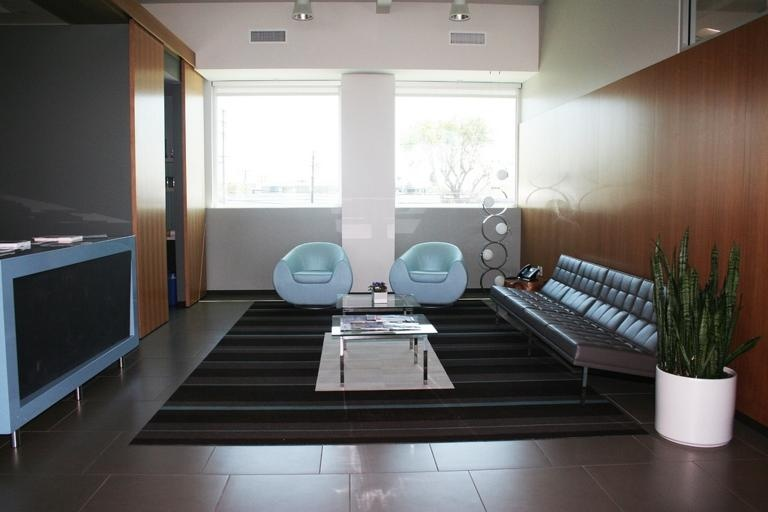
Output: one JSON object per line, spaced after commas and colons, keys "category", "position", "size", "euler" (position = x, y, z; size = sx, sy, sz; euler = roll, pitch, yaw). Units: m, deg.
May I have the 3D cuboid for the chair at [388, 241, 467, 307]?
{"category": "chair", "position": [0.710, 0.282, 7.411], "size": [1.234, 0.956, 1.158], "euler": [-1, 3, -6]}

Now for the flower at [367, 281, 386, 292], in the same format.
{"category": "flower", "position": [-0.066, 0.388, 5.741], "size": [0.151, 0.141, 0.277], "euler": [-3, 14, -14]}

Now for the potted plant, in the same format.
{"category": "potted plant", "position": [2.411, 0.640, 3.602], "size": [0.736, 1.568, 0.473], "euler": [8, 15, 30]}

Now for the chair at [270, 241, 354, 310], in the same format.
{"category": "chair", "position": [-1.006, 0.303, 7.392], "size": [1.292, 1.005, 1.273], "euler": [0, 2, 19]}
